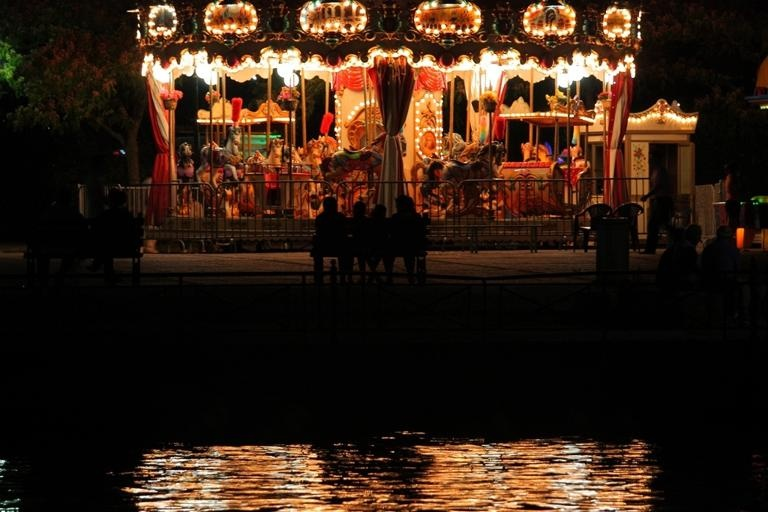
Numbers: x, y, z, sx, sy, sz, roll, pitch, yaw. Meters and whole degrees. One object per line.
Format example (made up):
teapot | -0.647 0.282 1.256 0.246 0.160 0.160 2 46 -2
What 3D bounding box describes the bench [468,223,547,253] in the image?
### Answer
bench | 2.884 -0.444 36.652 1.796 0.647 1.415 -1 1 -2
